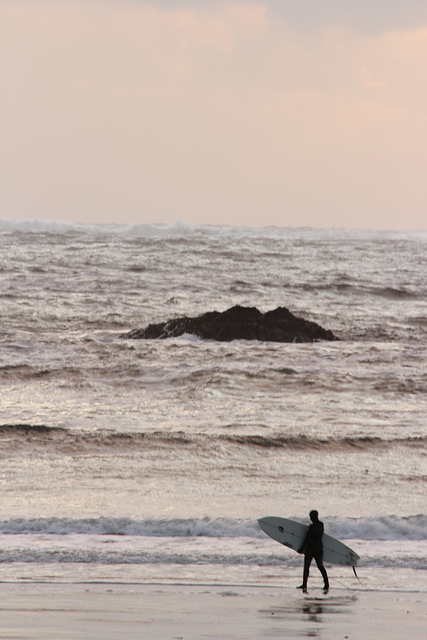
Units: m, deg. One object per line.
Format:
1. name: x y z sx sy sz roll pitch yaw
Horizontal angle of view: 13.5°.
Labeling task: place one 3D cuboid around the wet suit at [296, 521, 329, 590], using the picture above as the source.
1. wet suit: 1.786 4.122 32.302 0.524 1.178 0.611 -4 5 -24
